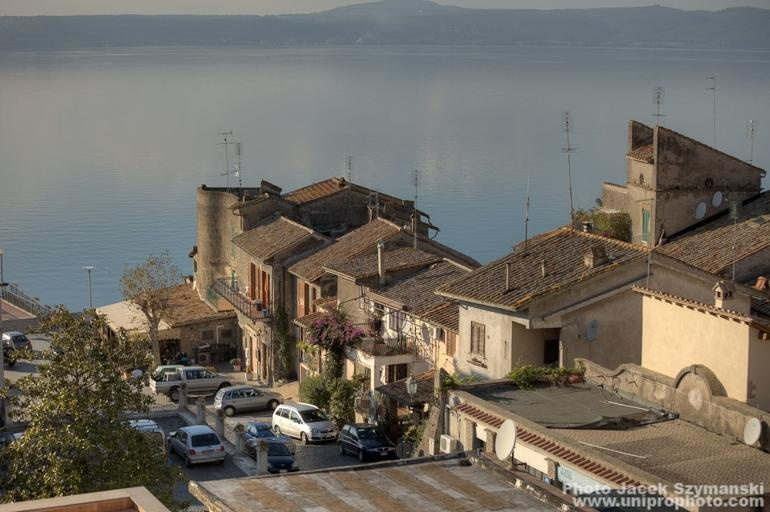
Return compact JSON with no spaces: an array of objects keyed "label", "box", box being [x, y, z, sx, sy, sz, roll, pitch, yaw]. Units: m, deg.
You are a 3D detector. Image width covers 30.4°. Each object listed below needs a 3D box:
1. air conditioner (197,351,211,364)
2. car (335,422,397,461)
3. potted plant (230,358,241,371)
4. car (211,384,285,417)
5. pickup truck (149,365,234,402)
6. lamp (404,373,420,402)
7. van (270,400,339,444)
[{"label":"air conditioner","box":[-19.140,10.736,148.318,1.483,1.224,0.387,-2,0,-38]},{"label":"car","box":[-1.904,16.714,125.771,2.649,2.785,6.092,1,-4,-25]},{"label":"potted plant","box":[-15.703,11.407,147.876,1.140,1.622,1.058,1,10,-5]},{"label":"car","box":[-13.431,14.008,136.083,6.052,2.340,2.815,-5,12,-17]},{"label":"pickup truck","box":[-19.007,13.124,138.537,7.690,2.936,4.005,-2,4,-19]},{"label":"lamp","box":[2.326,11.651,124.083,1.141,2.026,2.204,-2,0,1]},{"label":"van","box":[-7.478,15.478,130.188,5.668,3.539,2.013,-2,0,30]}]
